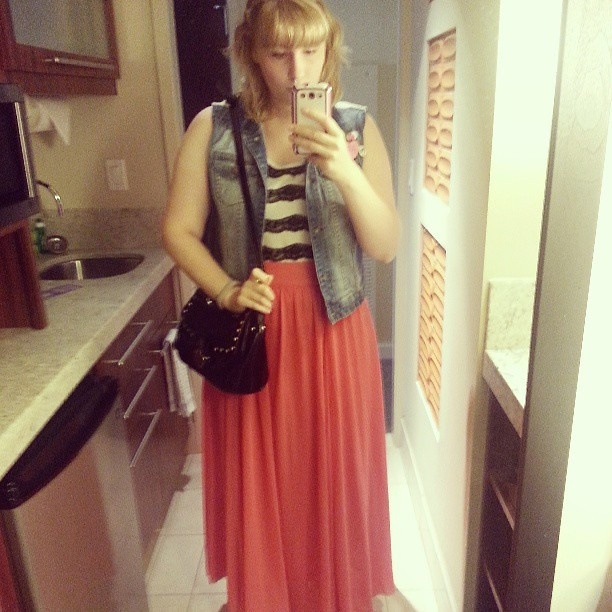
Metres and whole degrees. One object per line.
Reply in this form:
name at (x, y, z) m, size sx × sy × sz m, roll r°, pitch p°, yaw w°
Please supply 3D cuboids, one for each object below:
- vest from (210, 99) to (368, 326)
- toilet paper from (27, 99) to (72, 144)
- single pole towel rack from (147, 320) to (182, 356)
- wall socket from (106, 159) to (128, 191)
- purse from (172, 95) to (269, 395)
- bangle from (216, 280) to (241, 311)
vest at (-0.035, -0.165, 0.917) m, size 0.241 × 0.432 × 0.187 m, roll -2°, pitch 10°, yaw -3°
toilet paper at (-0.760, -0.552, 1.655) m, size 0.053 × 0.135 × 0.185 m, roll 4°, pitch 22°, yaw 20°
single pole towel rack at (-0.450, 0.082, 1.755) m, size 0.087 × 0.071 × 0.173 m, roll 3°, pitch 27°, yaw -2°
wall socket at (-0.619, -0.432, 1.818) m, size 0.065 × 0.118 × 0.011 m, roll 3°, pitch 28°, yaw 2°
purse at (-0.154, -0.080, 0.925) m, size 0.157 × 0.492 × 0.147 m, roll -8°, pitch 18°, yaw -17°
bangle at (-0.125, -0.019, 0.922) m, size 0.016 × 0.044 × 0.035 m, roll 33°, pitch 8°, yaw -14°
